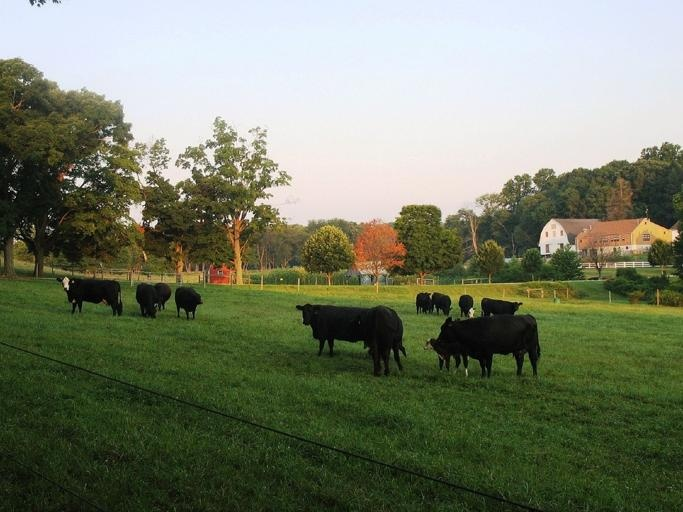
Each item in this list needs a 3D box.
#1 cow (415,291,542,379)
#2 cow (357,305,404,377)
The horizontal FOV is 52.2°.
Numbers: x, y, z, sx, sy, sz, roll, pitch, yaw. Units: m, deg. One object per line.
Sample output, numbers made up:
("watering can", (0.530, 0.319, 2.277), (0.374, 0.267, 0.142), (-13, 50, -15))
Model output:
("cow", (5.522, 3.350, 26.282), (3.660, 2.299, 0.999), (1, -1, 6))
("cow", (1.519, 3.175, 26.442), (1.627, 2.527, 1.505), (1, -1, 1))
